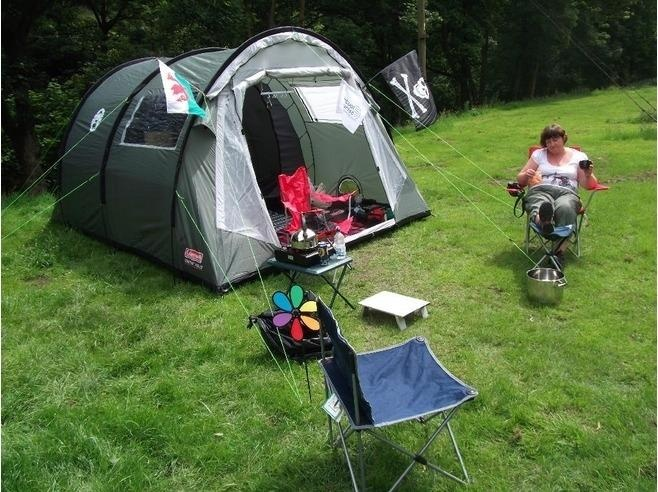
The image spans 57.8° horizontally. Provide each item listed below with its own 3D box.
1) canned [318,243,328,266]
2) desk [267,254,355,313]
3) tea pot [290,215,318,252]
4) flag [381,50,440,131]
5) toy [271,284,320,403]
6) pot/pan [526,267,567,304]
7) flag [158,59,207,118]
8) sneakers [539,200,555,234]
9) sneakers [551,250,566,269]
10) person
[{"bbox_3d":[-0.048,0.080,6.283,0.092,0.200,0.178,-1,13,2],"label":"canned"},{"bbox_3d":[-0.097,0.293,6.470,0.702,0.637,0.627,8,14,40],"label":"desk"},{"bbox_3d":[-0.255,-0.143,6.351,0.270,0.322,0.309,1,11,0],"label":"tea pot"},{"bbox_3d":[1.008,-1.881,7.166,0.570,0.902,0.702,7,15,32],"label":"flag"},{"bbox_3d":[-0.294,0.800,5.482,0.440,0.895,0.891,-2,13,-4],"label":"toy"},{"bbox_3d":[2.343,0.420,6.427,0.390,0.292,0.326,4,17,25],"label":"pot/pan"},{"bbox_3d":[-1.558,-1.627,6.215,0.423,0.523,0.381,-10,16,-34],"label":"flag"},{"bbox_3d":[2.428,-0.308,6.650,0.133,0.403,0.148,-1,4,10],"label":"sneakers"},{"bbox_3d":[2.655,0.158,6.883,0.118,0.208,0.323,7,16,33],"label":"sneakers"},{"bbox_3d":[2.688,-0.809,7.021,0.809,1.185,1.010,0,13,6],"label":"person"}]
